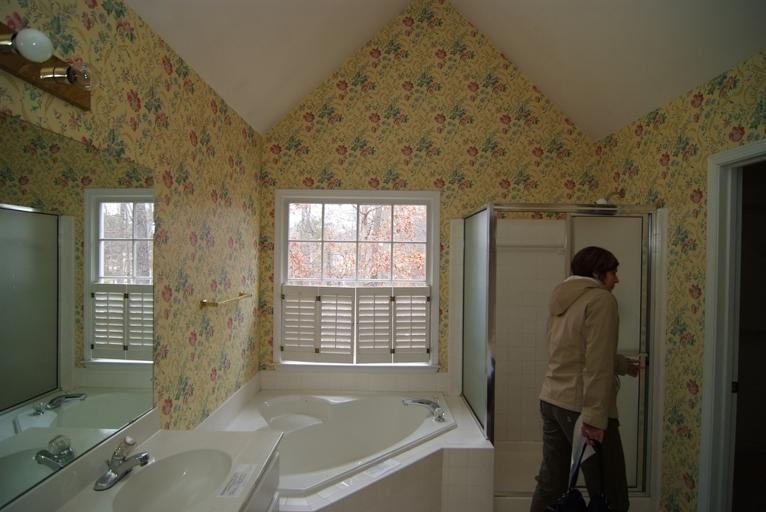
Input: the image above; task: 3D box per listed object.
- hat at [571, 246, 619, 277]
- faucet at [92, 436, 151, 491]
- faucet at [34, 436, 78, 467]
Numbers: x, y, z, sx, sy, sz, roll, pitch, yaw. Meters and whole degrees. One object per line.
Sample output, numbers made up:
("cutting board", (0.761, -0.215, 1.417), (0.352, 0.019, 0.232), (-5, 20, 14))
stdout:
("hat", (1.335, 0.015, 3.434), (0.175, 0.210, 0.239), (8, 11, 39))
("faucet", (-1.330, 1.067, 2.788), (0.125, 0.189, 0.305), (0, -4, 10))
("faucet", (-1.561, 0.942, 2.612), (0.073, 0.113, 0.147), (-3, -6, 31))
